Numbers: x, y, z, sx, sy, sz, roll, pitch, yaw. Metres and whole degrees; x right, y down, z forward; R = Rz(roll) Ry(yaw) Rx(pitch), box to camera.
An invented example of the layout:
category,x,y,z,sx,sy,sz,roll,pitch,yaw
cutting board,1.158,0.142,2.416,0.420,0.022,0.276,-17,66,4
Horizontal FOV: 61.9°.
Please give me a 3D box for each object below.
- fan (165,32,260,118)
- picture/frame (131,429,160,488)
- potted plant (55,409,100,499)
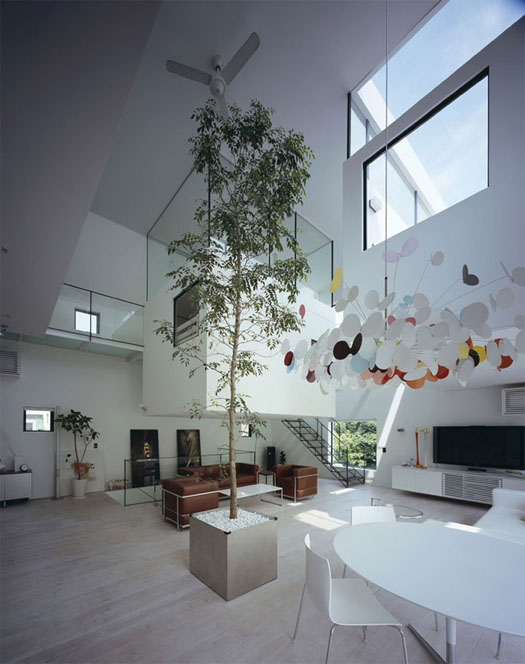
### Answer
category,x,y,z,sx,sy,sz,roll,pitch,yaw
fan,-0.377,-2.103,3.682,0.646,0.475,0.705,-8,-9,13
picture/frame,-2.541,2.440,9.393,0.011,1.645,0.730,-7,-8,40
potted plant,-3.738,2.132,8.758,0.860,1.639,0.824,5,-10,-24
